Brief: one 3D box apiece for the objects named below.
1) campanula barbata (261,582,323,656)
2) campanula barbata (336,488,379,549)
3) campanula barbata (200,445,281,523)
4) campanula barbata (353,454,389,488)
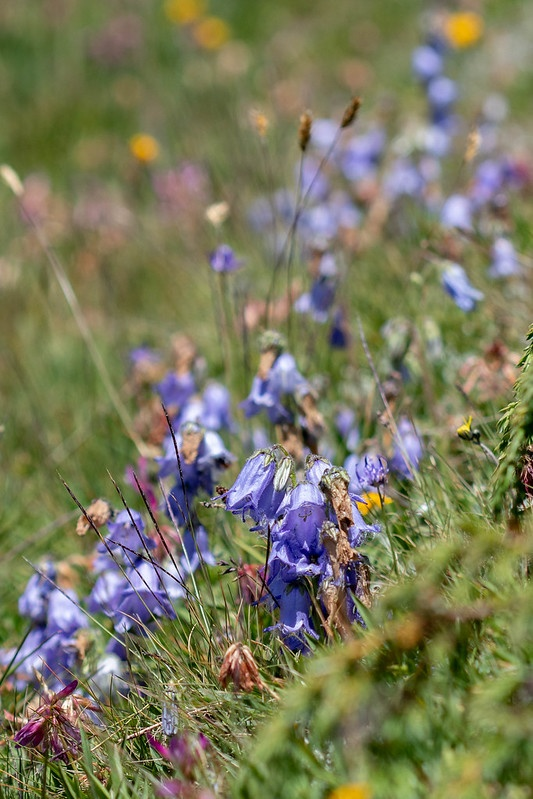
[{"bbox_3d":[0.043,0.504,2.223,0.141,0.154,0.148,2,16,-5],"label":"campanula barbata"},{"bbox_3d":[0.205,0.260,2.169,0.110,0.107,0.114,-22,86,19],"label":"campanula barbata"},{"bbox_3d":[-0.040,0.193,2.225,0.164,0.170,0.170,20,54,16],"label":"campanula barbata"},{"bbox_3d":[0.274,0.186,2.504,0.084,0.099,0.102,-2,83,20],"label":"campanula barbata"}]
